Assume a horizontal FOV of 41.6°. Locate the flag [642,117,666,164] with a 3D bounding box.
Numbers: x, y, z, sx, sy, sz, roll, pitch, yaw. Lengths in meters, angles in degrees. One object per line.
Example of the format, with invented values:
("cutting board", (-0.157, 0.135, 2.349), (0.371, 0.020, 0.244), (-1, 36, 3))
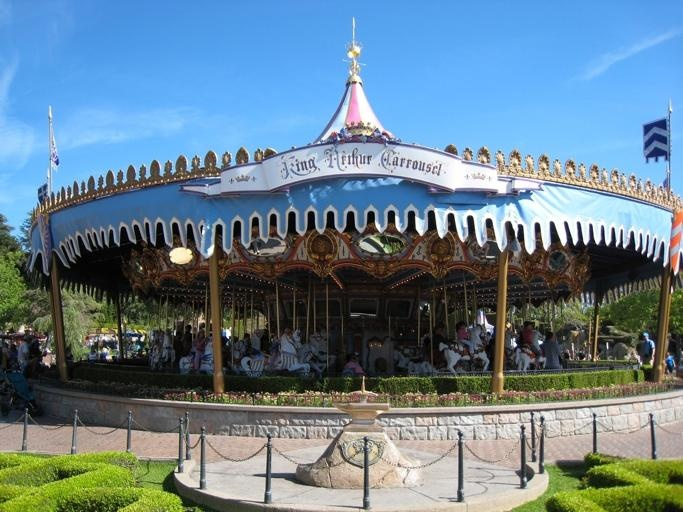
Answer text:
("flag", (11.045, -4.003, 31.485), (0.863, 1.387, 0.510), (-5, -11, 21))
